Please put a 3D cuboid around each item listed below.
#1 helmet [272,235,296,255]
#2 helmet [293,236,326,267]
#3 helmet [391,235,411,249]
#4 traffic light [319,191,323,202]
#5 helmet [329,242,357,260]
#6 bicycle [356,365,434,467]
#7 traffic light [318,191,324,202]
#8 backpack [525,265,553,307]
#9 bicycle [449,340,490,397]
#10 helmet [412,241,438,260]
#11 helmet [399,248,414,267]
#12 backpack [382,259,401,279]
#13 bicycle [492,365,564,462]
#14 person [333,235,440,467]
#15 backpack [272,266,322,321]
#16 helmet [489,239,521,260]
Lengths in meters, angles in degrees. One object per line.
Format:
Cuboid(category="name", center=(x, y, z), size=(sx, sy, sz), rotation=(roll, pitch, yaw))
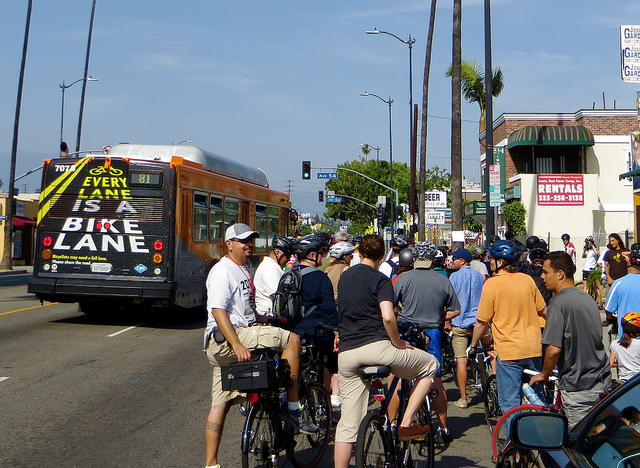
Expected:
Cuboid(category="helmet", center=(-0.501, 0.154, 9.455), size=(0.269, 0.228, 0.418), rotation=(0, 2, -5))
Cuboid(category="helmet", center=(-0.114, 0.197, 8.826), size=(0.326, 0.335, 0.264), rotation=(-24, 11, -17))
Cuboid(category="helmet", center=(1.331, 0.126, 11.580), size=(0.271, 0.238, 0.233), rotation=(13, 7, 16))
Cuboid(category="traffic light", center=(0.092, -3.029, 56.780), size=(0.293, 0.596, 0.812), rotation=(0, 2, -4))
Cuboid(category="helmet", center=(0.347, 0.246, 10.082), size=(0.289, 0.166, 0.213), rotation=(-1, -7, -40))
Cuboid(category="bicycle", center=(0.706, 2.047, 7.403), size=(0.610, 0.887, 1.329), rotation=(-5, 1, 22))
Cuboid(category="traffic light", center=(0.076, -3.029, 56.769), size=(0.259, 0.692, 0.979), rotation=(0, 2, -9))
Cuboid(category="backpack", center=(3.319, 0.720, 10.668), size=(0.293, 0.416, 0.415), rotation=(8, 0, 14))
Cuboid(category="bicycle", center=(2.310, 2.007, 10.464), size=(0.504, 0.643, 0.967), rotation=(0, -6, -9))
Cuboid(category="helmet", center=(1.383, 0.222, 9.291), size=(0.334, 0.191, 0.390), rotation=(-1, 3, 2))
Cuboid(category="helmet", center=(1.144, 0.318, 9.251), size=(0.190, 0.252, 0.431), rotation=(0, 2, 6))
Cuboid(category="backpack", center=(1.225, 0.590, 11.865), size=(0.197, 0.284, 0.262), rotation=(11, -7, 6))
Cuboid(category="bicycle", center=(2.306, 2.117, 7.703), size=(0.849, 0.957, 0.834), rotation=(0, 2, -3))
Cuboid(category="person", center=(0.626, 1.302, 7.132), size=(0.919, 1.935, 0.722), rotation=(0, 2, 6))
Cuboid(category="backpack", center=(-0.255, 0.687, 8.219), size=(0.557, 0.640, 0.397), rotation=(1, -5, -26))
Cuboid(category="helmet", center=(2.191, 0.191, 8.351), size=(0.367, 0.209, 0.289), rotation=(1, 2, 28))
